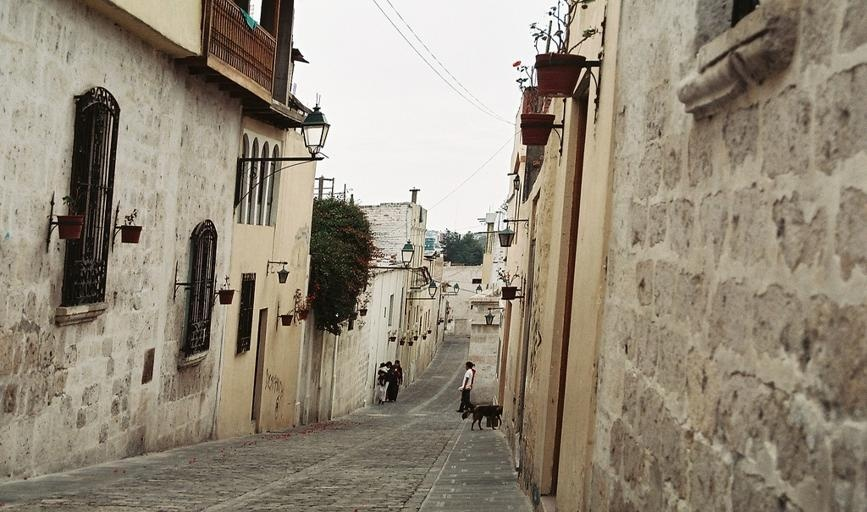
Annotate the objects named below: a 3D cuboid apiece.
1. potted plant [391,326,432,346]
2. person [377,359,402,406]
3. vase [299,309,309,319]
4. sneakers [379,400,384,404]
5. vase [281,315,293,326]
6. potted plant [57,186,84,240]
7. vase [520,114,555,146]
[{"bbox_3d":[-1.275,3.685,36.880,0.480,0.616,2.831,3,1,13],"label":"potted plant"},{"bbox_3d":[-1.651,4.708,30.562,0.809,1.578,2.075,2,-6,-4],"label":"person"},{"bbox_3d":[-2.962,1.343,18.817,0.203,0.171,0.202,1,2,-30],"label":"vase"},{"bbox_3d":[-1.933,5.507,30.829,0.132,0.159,0.145,1,-6,6],"label":"sneakers"},{"bbox_3d":[-3.147,1.394,17.671,0.222,0.174,0.225,2,-3,-19],"label":"vase"},{"bbox_3d":[-4.146,-0.451,9.344,0.253,0.526,0.633,4,-6,-25],"label":"potted plant"},{"bbox_3d":[1.252,-1.512,9.836,0.381,0.308,0.378,1,-3,-6],"label":"vase"}]
